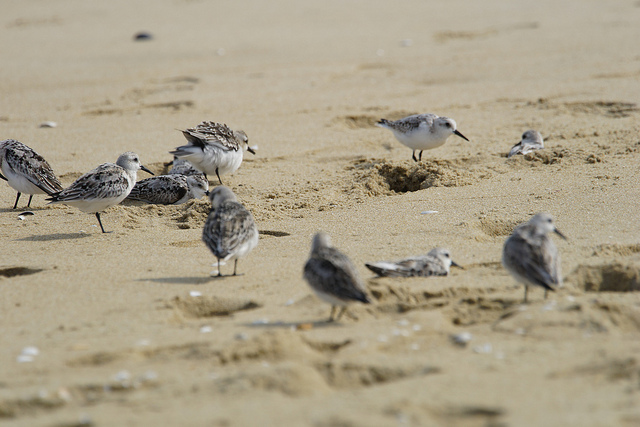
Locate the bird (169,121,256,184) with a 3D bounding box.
[{"bbox_3d":[-1.826,-1.047,12.949,0.645,0.913,2.050,-4,-12,32],"label":"bird"}]

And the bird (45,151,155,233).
[{"bbox_3d":[-3.253,-0.333,11.448,1.628,1.023,0.707,-4,12,-30],"label":"bird"}]

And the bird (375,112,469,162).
[{"bbox_3d":[1.735,-1.573,14.075,1.679,0.832,0.645,23,27,17],"label":"bird"}]

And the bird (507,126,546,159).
[{"bbox_3d":[3.585,-1.234,13.783,0.644,0.500,0.818,11,28,43],"label":"bird"}]

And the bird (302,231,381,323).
[{"bbox_3d":[0.260,0.773,9.098,0.666,0.972,1.362,-14,20,-31],"label":"bird"}]

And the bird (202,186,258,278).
[{"bbox_3d":[-1.177,0.311,9.833,0.598,1.339,0.805,5,47,-3],"label":"bird"}]

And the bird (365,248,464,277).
[{"bbox_3d":[1.179,0.700,9.896,1.390,0.514,0.457,1,3,-23],"label":"bird"}]
